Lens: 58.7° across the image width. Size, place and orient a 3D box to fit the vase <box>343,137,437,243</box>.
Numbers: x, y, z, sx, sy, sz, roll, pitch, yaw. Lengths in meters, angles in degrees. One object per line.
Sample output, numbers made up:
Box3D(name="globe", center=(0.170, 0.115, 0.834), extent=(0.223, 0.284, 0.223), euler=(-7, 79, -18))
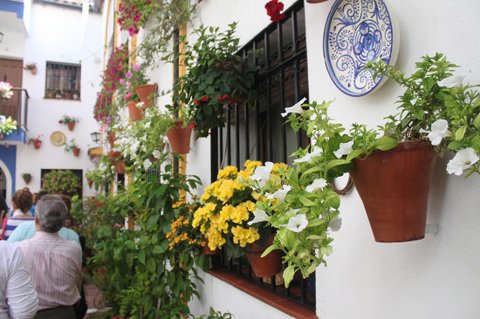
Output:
Box3D(name="vase", center=(0.912, 0.206, 2.571), extent=(0.519, 0.535, 0.530), euler=(-8, -7, 35))
